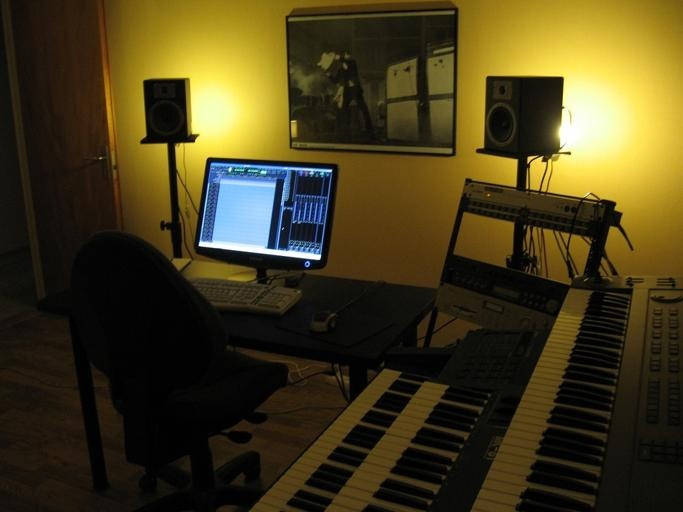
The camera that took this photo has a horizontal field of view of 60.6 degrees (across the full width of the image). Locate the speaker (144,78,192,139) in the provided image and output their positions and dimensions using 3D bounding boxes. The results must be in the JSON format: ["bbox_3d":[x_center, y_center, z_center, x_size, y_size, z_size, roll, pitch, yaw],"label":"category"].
[{"bbox_3d":[-1.110,-0.888,3.592,0.276,0.381,0.145,-4,16,-13],"label":"speaker"}]

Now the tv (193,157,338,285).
[{"bbox_3d":[-0.385,-0.159,2.752,0.607,0.517,0.140,7,6,15],"label":"tv"}]

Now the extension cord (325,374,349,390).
[{"bbox_3d":[-0.051,0.783,3.616,0.144,0.038,0.104,12,49,14],"label":"extension cord"}]

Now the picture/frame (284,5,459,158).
[{"bbox_3d":[0.204,-1.100,3.589,0.941,0.702,0.037,7,19,22],"label":"picture/frame"}]

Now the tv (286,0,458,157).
[{"bbox_3d":[0.205,-1.121,3.584,0.958,0.715,0.039,7,19,22],"label":"tv"}]
